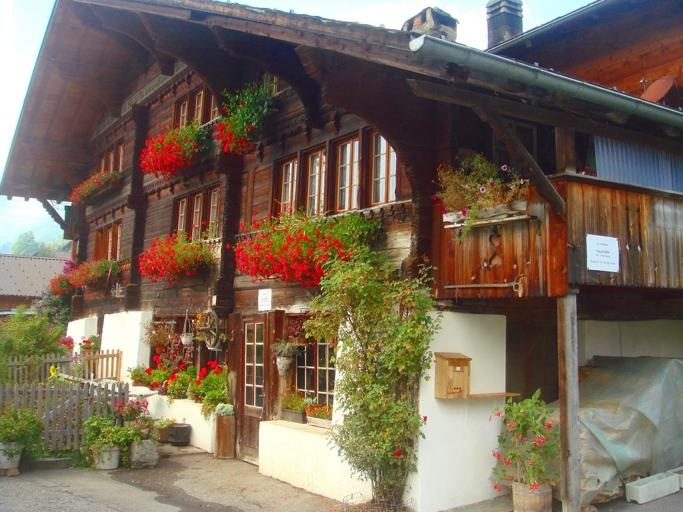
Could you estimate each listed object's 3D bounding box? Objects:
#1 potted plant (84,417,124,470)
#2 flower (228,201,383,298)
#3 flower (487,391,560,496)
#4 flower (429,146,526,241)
[{"bbox_3d":[-4.584,3.695,12.286,0.851,1.061,0.803,-1,-15,4],"label":"potted plant"},{"bbox_3d":[-0.694,-0.235,11.383,3.165,1.619,0.901,-10,-16,41],"label":"flower"},{"bbox_3d":[2.861,2.863,9.636,0.999,1.489,1.162,-2,-12,14],"label":"flower"},{"bbox_3d":[2.109,-1.007,9.523,1.168,1.389,0.465,-12,-9,10],"label":"flower"}]
